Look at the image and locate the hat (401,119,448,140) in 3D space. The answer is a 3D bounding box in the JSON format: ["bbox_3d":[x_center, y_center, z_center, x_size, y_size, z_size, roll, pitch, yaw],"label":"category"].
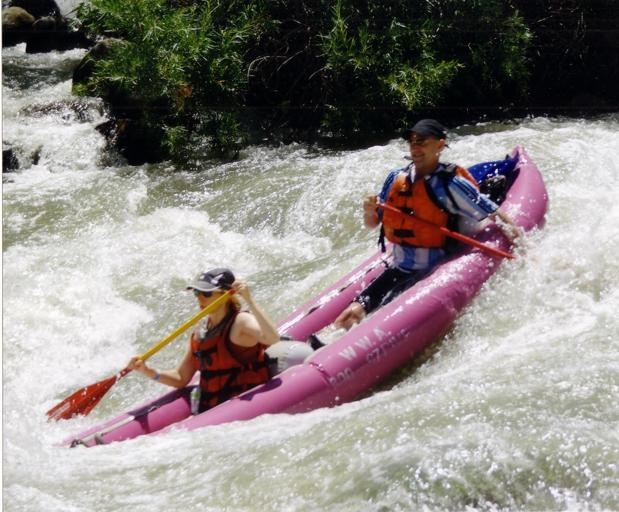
[{"bbox_3d":[0.713,-0.789,4.192,0.208,0.105,0.138,21,4,-19],"label":"hat"}]

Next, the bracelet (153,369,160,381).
[{"bbox_3d":[-0.866,0.680,3.838,0.016,0.051,0.051,9,-21,-33],"label":"bracelet"}]

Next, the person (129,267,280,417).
[{"bbox_3d":[-0.553,0.729,3.803,0.828,1.151,0.538,-10,-18,18],"label":"person"}]

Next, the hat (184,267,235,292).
[{"bbox_3d":[-0.528,0.140,3.710,0.208,0.093,0.134,-8,2,-38],"label":"hat"}]
